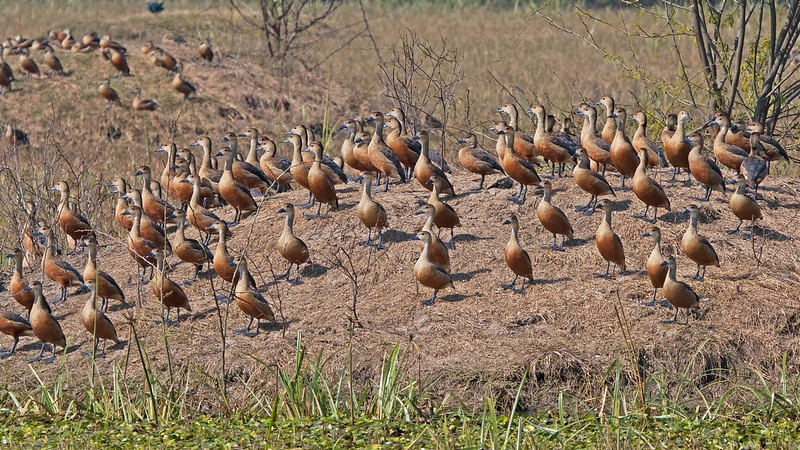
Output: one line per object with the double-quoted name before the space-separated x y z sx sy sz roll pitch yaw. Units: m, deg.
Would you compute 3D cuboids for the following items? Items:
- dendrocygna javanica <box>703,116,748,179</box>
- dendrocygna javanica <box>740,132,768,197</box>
"dendrocygna javanica" 8.041 -1.967 27.327 1.351 1.455 0.609 1 3 -2
"dendrocygna javanica" 8.498 -1.461 26.704 0.633 1.871 0.719 4 3 24
